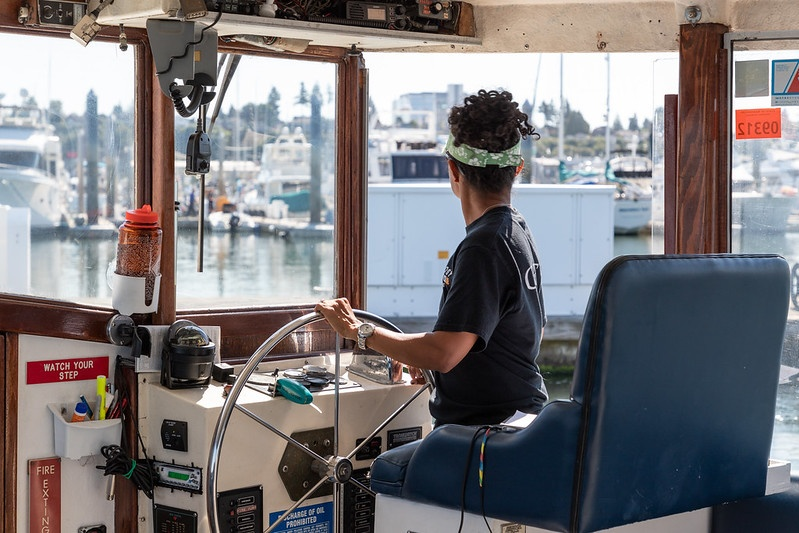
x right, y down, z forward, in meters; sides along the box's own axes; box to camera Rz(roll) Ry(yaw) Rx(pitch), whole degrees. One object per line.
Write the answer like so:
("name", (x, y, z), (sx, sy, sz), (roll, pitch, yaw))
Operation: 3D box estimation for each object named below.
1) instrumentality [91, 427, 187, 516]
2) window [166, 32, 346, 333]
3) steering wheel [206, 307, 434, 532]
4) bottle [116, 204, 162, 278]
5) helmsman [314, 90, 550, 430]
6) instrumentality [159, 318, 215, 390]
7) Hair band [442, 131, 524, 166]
("instrumentality", (-1.069, 0.794, 5.217), (0.233, 0.224, 0.097), (24, -23, -13))
("window", (-0.631, -0.400, 5.634), (1.124, 1.672, 0.066), (-2, 8, -27))
("steering wheel", (-0.326, 0.651, 5.256), (0.824, 0.888, 0.083), (6, 4, -43))
("bottle", (-1.068, -0.106, 5.367), (0.200, 0.292, 0.119), (-3, 4, -26))
("helmsman", (0.209, -0.086, 5.559), (1.067, 1.669, 1.129), (4, 5, 23))
("instrumentality", (-0.868, 0.356, 5.389), (0.227, 0.282, 0.217), (0, 4, -41))
("Hair band", (0.288, -0.488, 5.095), (0.308, 0.127, 0.345), (0, 12, 1))
